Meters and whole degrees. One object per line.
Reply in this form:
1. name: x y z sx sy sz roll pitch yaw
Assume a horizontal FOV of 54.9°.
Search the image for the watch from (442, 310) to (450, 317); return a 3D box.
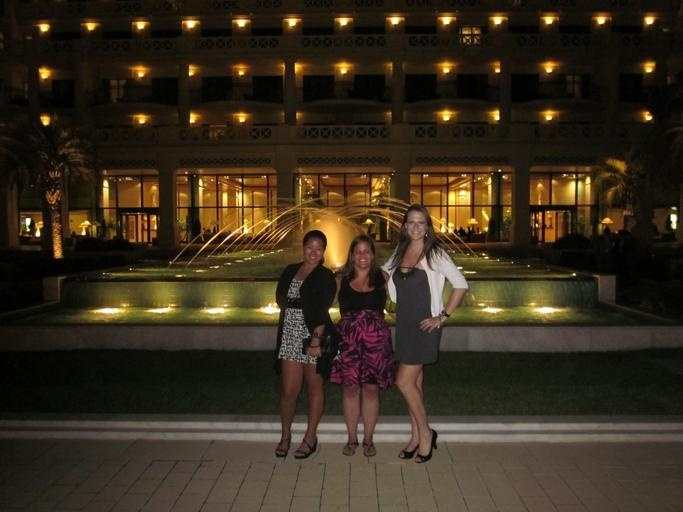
1. watch: 1.658 0.926 10.378 0.118 0.066 0.084 40 -14 -27
